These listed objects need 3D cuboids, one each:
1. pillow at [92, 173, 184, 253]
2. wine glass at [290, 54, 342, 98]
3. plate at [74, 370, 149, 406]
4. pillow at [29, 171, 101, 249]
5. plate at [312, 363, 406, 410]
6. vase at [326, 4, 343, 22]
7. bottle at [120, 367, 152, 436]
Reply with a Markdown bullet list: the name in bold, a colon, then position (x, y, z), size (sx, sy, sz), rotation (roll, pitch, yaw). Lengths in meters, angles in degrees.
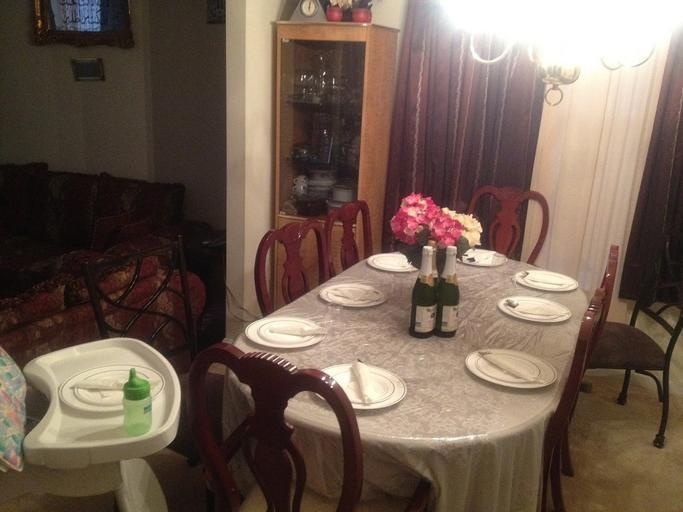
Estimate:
- **pillow**: position (-1.626, -0.329, 4.169), size (0.590, 0.653, 0.223), rotation (12, -2, -36)
- **wine glass**: position (-0.166, -1.187, 3.613), size (0.316, 0.299, 0.110), rotation (2, 20, -1)
- **plate**: position (-0.728, 0.415, 1.672), size (0.171, 0.021, 0.175), rotation (-5, 20, -23)
- **pillow**: position (-2.216, -0.330, 4.436), size (0.579, 0.631, 0.158), rotation (13, 7, 33)
- **plate**: position (0.099, 0.437, 1.756), size (0.191, 0.022, 0.193), rotation (-8, 27, -25)
- **vase**: position (-0.050, -1.571, 3.486), size (0.101, 0.082, 0.105), rotation (-1, 16, -6)
- **bottle**: position (-0.584, 0.412, 1.519), size (0.079, 0.177, 0.105), rotation (-6, 21, -20)
